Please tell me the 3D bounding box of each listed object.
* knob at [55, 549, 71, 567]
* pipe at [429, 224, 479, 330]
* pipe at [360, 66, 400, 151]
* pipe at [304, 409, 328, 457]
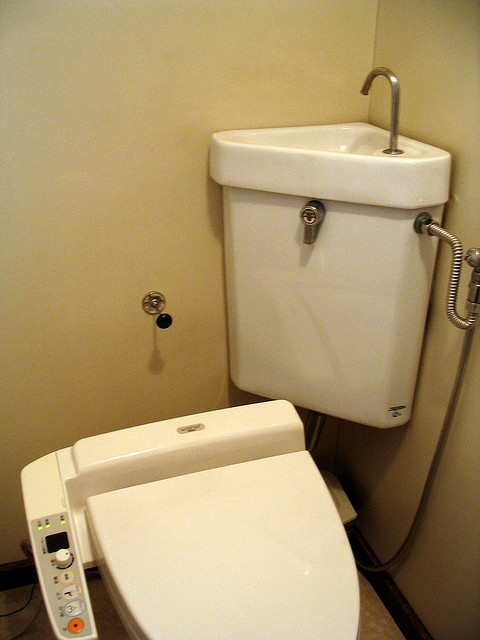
[{"bbox_3d":[-0.261,0.353,0.805,0.021,0.015,0.021,-5,28,-6],"label":"knob"},{"bbox_3d":[0.331,-0.071,0.845,0.070,0.155,0.135,-3,20,5],"label":"pipe"},{"bbox_3d":[0.229,-0.346,0.887,0.058,0.131,0.123,1,21,14],"label":"pipe"},{"bbox_3d":[0.162,0.247,1.253,0.044,0.044,0.139,12,35,19],"label":"pipe"}]
